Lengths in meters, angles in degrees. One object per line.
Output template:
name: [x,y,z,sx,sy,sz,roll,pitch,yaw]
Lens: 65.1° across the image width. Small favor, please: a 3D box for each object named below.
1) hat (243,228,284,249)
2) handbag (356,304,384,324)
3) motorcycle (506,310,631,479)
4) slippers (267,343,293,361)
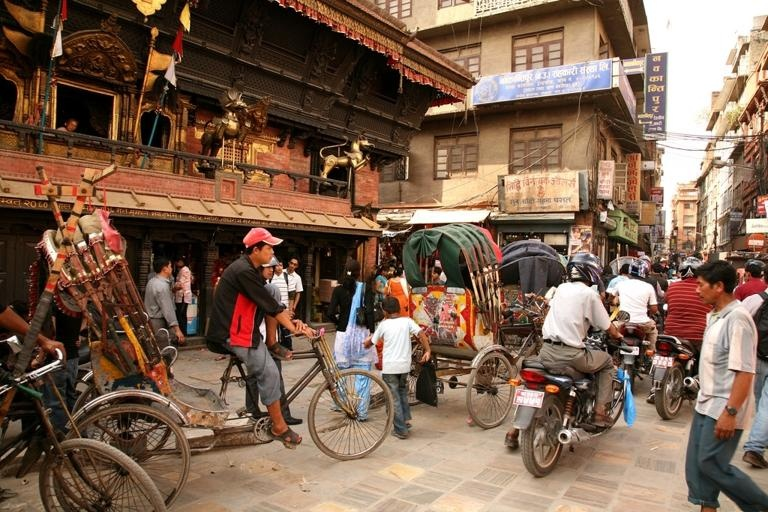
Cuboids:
hat: [-1.647,-0.264,8.221,0.484,0.235,0.292,-2,5,-6]
handbag: [-0.284,0.989,10.200,0.393,0.263,0.665,-1,-3,0]
motorcycle: [2.467,2.100,8.738,1.198,1.478,2.305,1,6,39]
slippers: [-1.404,1.315,8.301,0.455,0.178,0.176,10,18,40]
